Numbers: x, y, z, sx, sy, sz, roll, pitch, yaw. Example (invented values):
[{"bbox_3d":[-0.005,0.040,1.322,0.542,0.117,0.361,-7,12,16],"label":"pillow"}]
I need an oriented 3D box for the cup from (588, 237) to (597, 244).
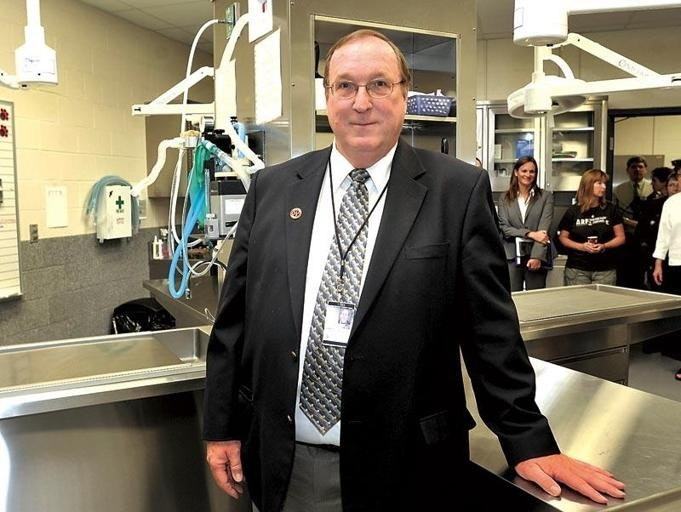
[{"bbox_3d":[2.456,-0.159,5.053,0.054,0.045,0.056,-3,8,0],"label":"cup"}]

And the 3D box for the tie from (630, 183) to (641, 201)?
[{"bbox_3d":[4.145,-0.911,7.253,0.102,0.186,0.184,2,9,28],"label":"tie"}]

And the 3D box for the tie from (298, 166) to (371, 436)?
[{"bbox_3d":[0.000,0.115,1.426,0.143,0.699,0.239,3,9,36],"label":"tie"}]
